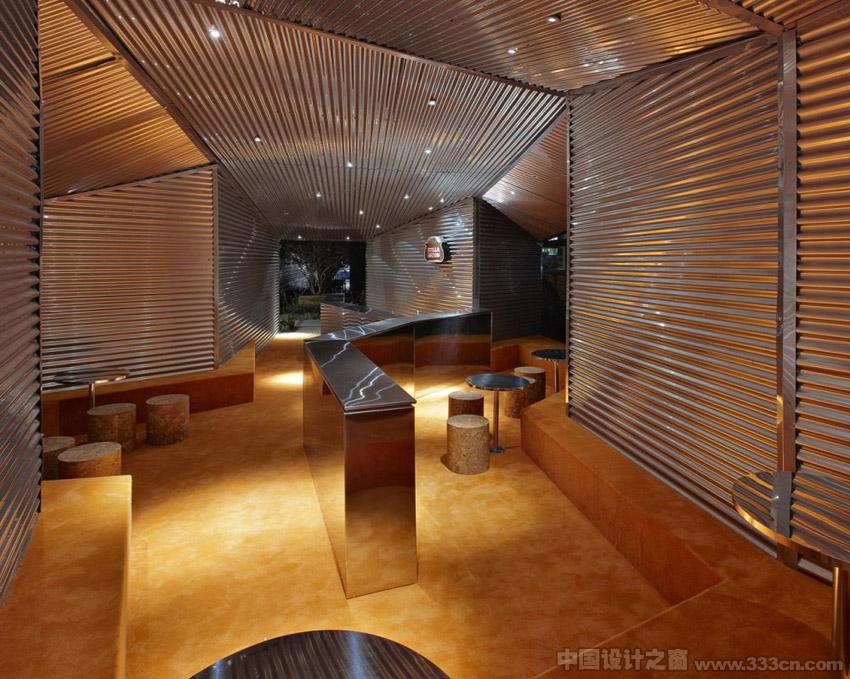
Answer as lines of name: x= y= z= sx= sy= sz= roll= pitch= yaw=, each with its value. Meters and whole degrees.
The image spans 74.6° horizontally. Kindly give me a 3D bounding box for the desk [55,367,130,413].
desk: x=-3.724 y=0.500 z=6.211 sx=0.694 sy=0.426 sz=0.662 roll=-9 pitch=18 yaw=-36
